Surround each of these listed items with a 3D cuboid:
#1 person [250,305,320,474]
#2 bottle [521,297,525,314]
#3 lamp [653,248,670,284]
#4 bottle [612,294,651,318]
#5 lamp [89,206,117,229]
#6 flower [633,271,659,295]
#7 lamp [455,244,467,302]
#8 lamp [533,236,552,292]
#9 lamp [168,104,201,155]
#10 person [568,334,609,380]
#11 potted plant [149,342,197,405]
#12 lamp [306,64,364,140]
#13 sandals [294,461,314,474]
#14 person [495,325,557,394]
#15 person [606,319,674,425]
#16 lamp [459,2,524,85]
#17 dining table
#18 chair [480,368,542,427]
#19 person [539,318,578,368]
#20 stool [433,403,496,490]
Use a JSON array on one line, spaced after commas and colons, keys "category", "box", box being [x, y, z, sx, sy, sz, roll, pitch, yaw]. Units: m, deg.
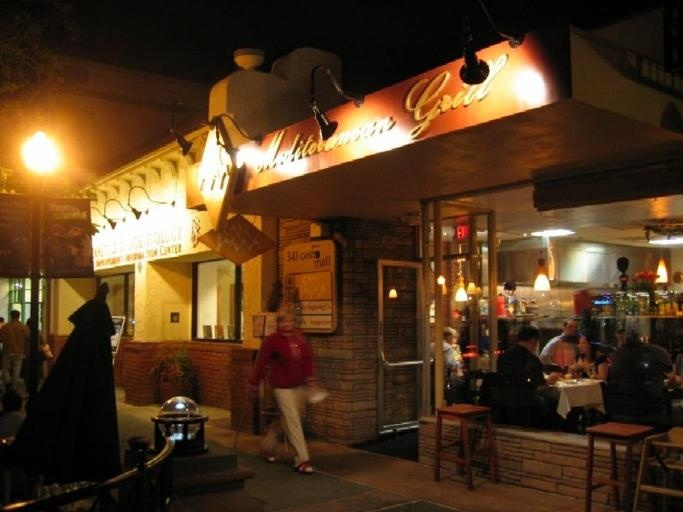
[{"category": "person", "box": [-0.750, 1.835, 9.268, 0.840, 2.224, 0.310, 0, -7, -6]}, {"category": "bottle", "box": [3.519, 0.970, 13.066, 0.107, 0.312, 0.624, -3, -7, 15]}, {"category": "lamp", "box": [5.535, 0.167, 11.503, 0.359, 0.532, 0.222, 3, -8, -30]}, {"category": "bottle", "box": [4.188, 0.708, 9.738, 0.284, 0.386, 0.525, 3, -5, -22]}, {"category": "lamp", "box": [-6.119, -0.995, 17.369, 0.825, 0.853, 0.189, 19, 19, 37]}, {"category": "flower", "box": [4.455, 0.404, 9.858, 0.301, 0.313, 0.301, 3, -8, -24]}, {"category": "lamp", "box": [1.772, 0.352, 10.017, 0.215, 0.665, 0.130, -2, -7, 10]}, {"category": "lamp", "box": [3.692, 0.149, 12.403, 0.298, 0.925, 0.613, -3, -7, 16]}, {"category": "lamp", "box": [-2.449, -1.927, 10.241, 0.268, 0.840, 0.350, 31, 51, 26]}, {"category": "person", "box": [3.906, 1.656, 10.678, 0.652, 0.771, 0.566, 4, -16, 18]}, {"category": "potted plant", "box": [-3.775, 2.667, 15.096, 0.979, 1.270, 0.648, -5, -8, 28]}, {"category": "lamp", "box": [-0.114, -1.982, 8.275, 0.630, 0.962, 0.389, -24, -14, 11]}, {"category": "sandals", "box": [-0.500, 2.872, 9.101, 0.108, 0.129, 0.289, 6, -15, -33]}, {"category": "person", "box": [2.645, 1.432, 9.612, 0.753, 0.884, 0.817, -2, 7, -23]}, {"category": "person", "box": [4.015, 1.665, 9.066, 0.959, 1.470, 0.980, 6, -6, -44]}, {"category": "lamp", "box": [1.402, -2.128, 6.594, 0.249, 0.815, 0.753, 5, -9, -42]}, {"category": "dining table", "box": [3.238, 2.207, 9.532, 0.878, 0.480, 0.862, -1, 1, -37]}, {"category": "chair", "box": [2.337, 1.981, 9.504, 0.690, 0.864, 0.638, 2, -4, -23]}, {"category": "person", "box": [3.832, 1.520, 11.855, 0.609, 0.943, 0.291, 16, -10, -6]}, {"category": "stool", "box": [1.589, 2.398, 8.739, 0.773, 0.907, 0.796, -4, -1, -10]}]
